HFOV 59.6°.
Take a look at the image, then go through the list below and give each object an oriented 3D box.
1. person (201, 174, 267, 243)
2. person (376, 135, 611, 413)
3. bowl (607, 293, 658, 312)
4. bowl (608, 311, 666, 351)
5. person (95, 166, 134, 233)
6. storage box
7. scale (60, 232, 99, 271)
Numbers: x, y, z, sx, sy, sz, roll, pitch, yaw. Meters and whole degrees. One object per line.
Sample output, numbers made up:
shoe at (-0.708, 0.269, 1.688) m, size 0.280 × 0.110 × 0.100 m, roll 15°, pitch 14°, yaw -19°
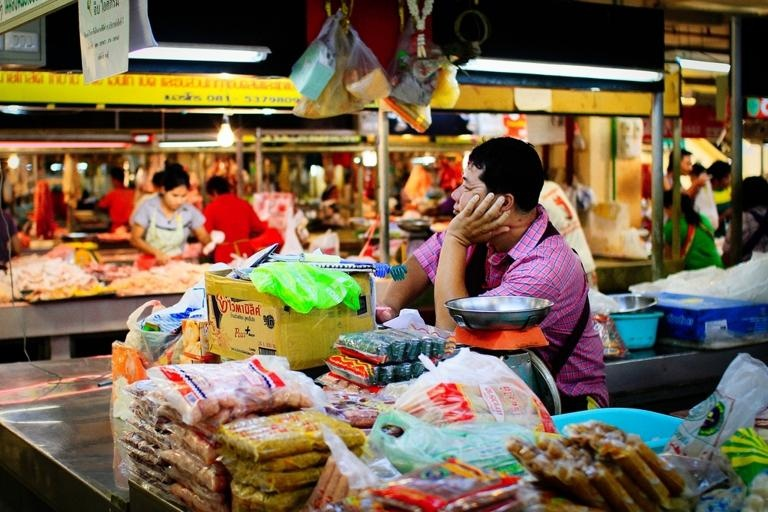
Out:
person at (-1.689, -0.533, 7.614) m, size 0.666 × 0.730 × 0.506 m, roll -1°, pitch 5°, yaw -11°
person at (0.502, 0.381, 3.187) m, size 1.077 × 1.743 × 0.732 m, roll -3°, pitch 10°, yaw -6°
bowl at (1.637, 0.314, 4.400) m, size 0.279 × 0.084 × 0.391 m, roll 2°, pitch 5°, yaw 19°
bowl at (1.607, 0.468, 4.254) m, size 0.231 × 0.152 × 0.306 m, roll -1°, pitch -3°, yaw -8°
person at (-3.565, -0.752, 8.966) m, size 0.388 × 0.872 × 0.836 m, roll -4°, pitch 6°, yaw -36°
storage box at (-0.400, 0.244, 2.829) m, size 0.698 × 0.329 × 0.559 m, roll -3°, pitch 2°, yaw 39°
scale at (-2.976, -0.024, 6.557) m, size 0.289 × 0.371 × 0.297 m, roll 2°, pitch 7°, yaw -29°
